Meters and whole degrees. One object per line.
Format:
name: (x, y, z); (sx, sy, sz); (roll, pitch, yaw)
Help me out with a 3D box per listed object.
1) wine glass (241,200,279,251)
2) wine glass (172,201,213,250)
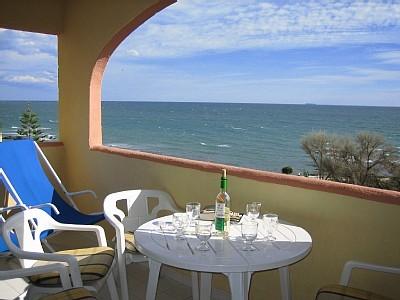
wine glass: (0.347, 0.439, 1.726); (0.133, 0.214, 0.318); (1, 2, 20)
wine glass: (-0.027, 0.438, 1.761); (0.179, 0.162, 0.257); (-1, 5, -42)
